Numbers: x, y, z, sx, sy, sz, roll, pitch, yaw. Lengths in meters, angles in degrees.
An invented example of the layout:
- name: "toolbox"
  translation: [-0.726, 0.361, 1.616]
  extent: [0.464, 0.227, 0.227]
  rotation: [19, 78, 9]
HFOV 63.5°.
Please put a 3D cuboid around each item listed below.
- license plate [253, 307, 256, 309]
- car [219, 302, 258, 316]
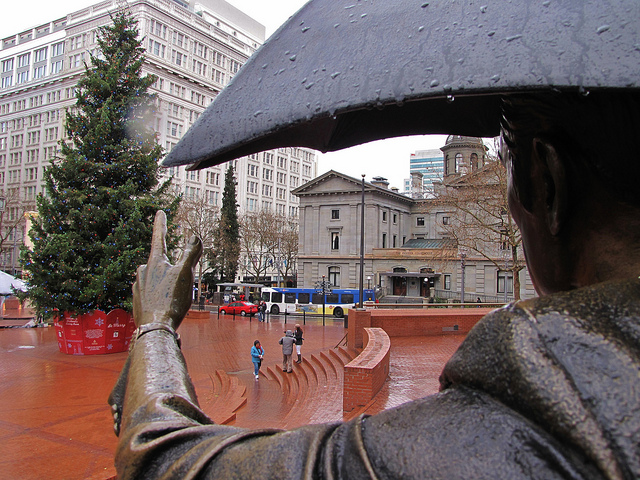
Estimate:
- name: "license plate"
  translation: [-4.819, 4.948, 37.482]
  extent: [0.148, 0.111, 0.158]
  rotation: [0, 2, 13]
- name: "car"
  translation: [-6.103, 5.013, 37.556]
  extent: [2.394, 0.874, 1.139]
  rotation: [2, 1, 24]
